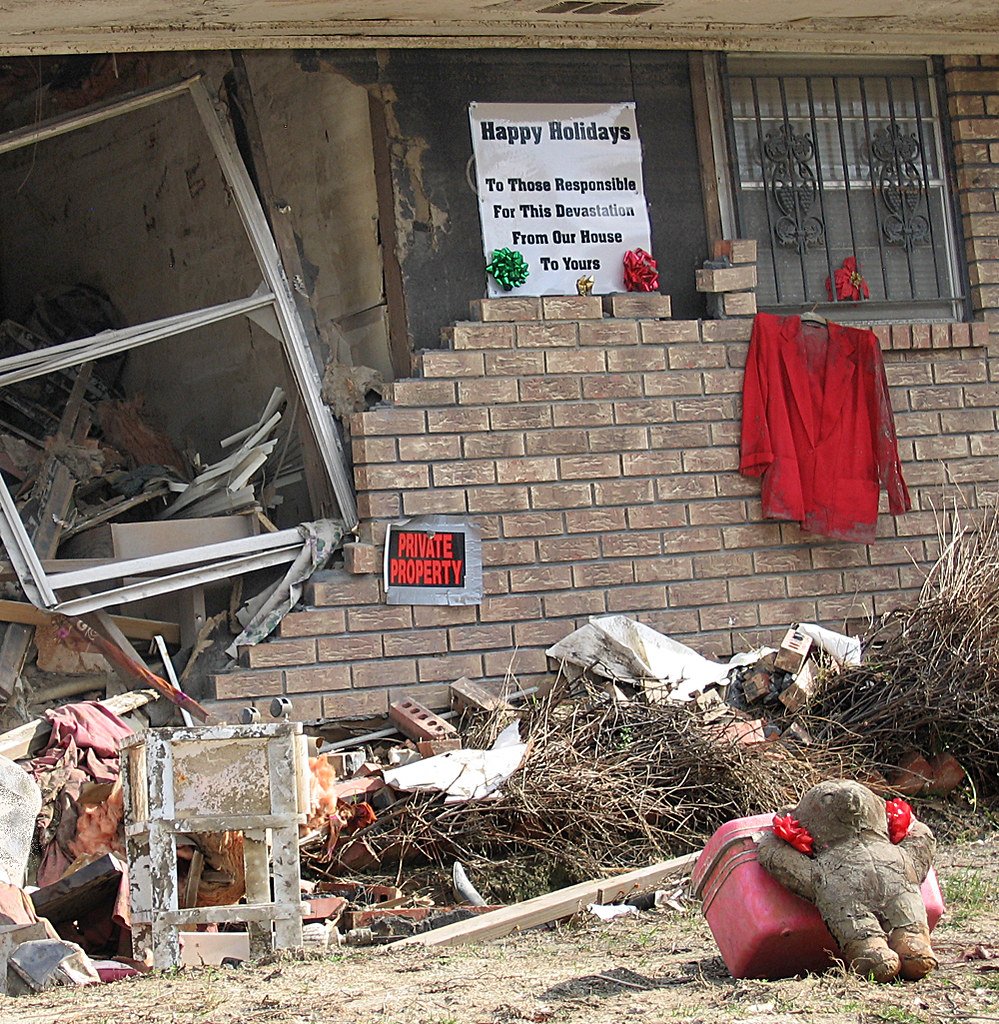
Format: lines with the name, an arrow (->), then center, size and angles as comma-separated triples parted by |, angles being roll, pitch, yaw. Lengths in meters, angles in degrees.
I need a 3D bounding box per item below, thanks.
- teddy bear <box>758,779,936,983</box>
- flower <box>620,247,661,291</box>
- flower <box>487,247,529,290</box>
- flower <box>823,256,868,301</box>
teddy bear -> 1.159, 1.160, 4.549 | 0.647, 0.599, 0.277 | -11, -36, -21
flower -> 0.770, -1.333, 7.822 | 0.192, 0.246, 0.055 | -3, -3, -13
flower -> 0.029, -1.297, 7.590 | 0.311, 0.186, 0.077 | 7, -1, -18
flower -> 2.048, -1.361, 8.306 | 0.283, 0.282, 0.097 | -2, -3, -28
